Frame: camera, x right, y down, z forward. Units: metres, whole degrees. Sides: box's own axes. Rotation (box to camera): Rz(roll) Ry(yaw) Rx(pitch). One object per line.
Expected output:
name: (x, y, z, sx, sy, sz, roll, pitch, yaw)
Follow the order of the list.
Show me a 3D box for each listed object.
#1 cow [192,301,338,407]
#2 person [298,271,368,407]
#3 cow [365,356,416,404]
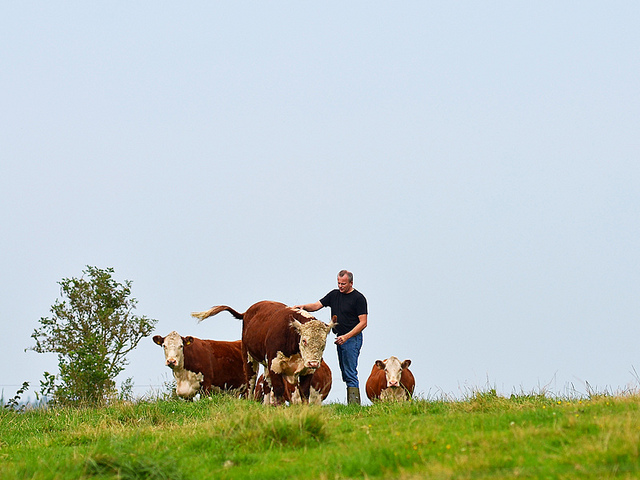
cow: (-1.244, 2.312, 18.303, 0.872, 2.085, 3.880, -6, 8, -38)
person: (0.305, 2.151, 18.335, 1.284, 3.193, 1.198, 2, 13, 18)
cow: (1.628, 3.266, 20.211, 1.082, 0.836, 1.919, -7, -3, 5)
